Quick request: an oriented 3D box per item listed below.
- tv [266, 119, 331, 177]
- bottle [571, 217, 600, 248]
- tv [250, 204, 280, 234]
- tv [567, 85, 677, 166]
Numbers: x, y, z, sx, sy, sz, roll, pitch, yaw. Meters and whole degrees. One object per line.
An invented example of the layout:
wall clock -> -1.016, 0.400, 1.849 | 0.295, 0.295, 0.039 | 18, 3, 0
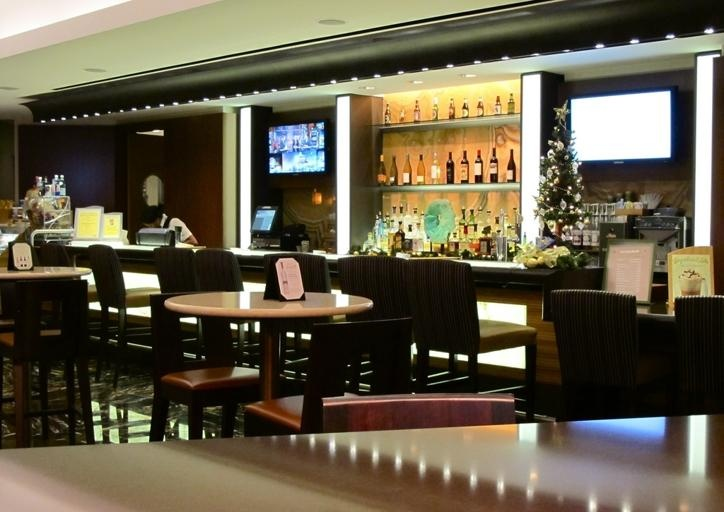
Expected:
tv -> -1.059, -1.753, 9.576 | 1.365, 1.006, 0.283 | -12, -14, 41
bottle -> 2.271, -0.238, 5.920 | 0.322, 0.301, 0.309 | 2, 6, 19
tv -> -1.458, -0.551, 8.798 | 0.302, 0.492, 0.510 | 6, -14, -41
tv -> 3.004, -1.469, 6.644 | 1.317, 0.896, 0.130 | 4, 8, 34
